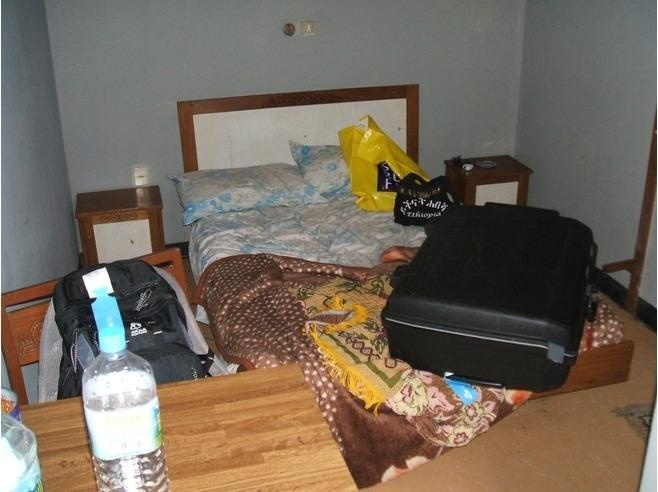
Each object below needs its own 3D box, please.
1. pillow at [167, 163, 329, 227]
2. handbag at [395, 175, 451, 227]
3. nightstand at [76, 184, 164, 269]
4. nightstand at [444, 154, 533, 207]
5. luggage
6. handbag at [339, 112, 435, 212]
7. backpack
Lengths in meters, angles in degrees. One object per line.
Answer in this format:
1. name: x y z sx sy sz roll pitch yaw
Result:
1. pillow: -0.587 -0.384 3.510 0.742 0.130 0.528 -8 40 -16
2. handbag: 0.571 -0.266 3.097 0.356 0.317 0.133 -2 -11 2
3. nightstand: -1.390 -0.128 3.368 0.454 0.442 0.332 -9 28 -19
4. nightstand: 1.315 -0.434 4.198 0.516 0.518 0.388 -7 29 -3
5. luggage: 0.670 0.190 1.992 0.650 0.514 0.846 7 20 29
6. handbag: 0.316 -0.577 3.571 0.534 0.693 0.214 -28 -17 -5
7. backpack: -0.679 0.239 1.904 0.385 0.566 0.523 -12 19 -31
